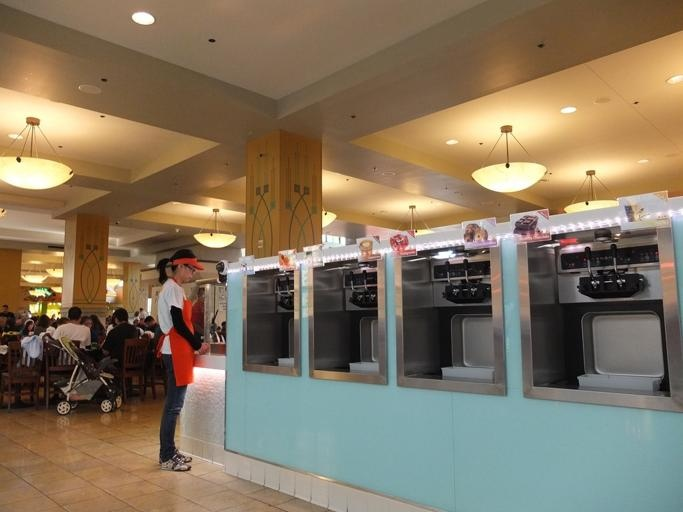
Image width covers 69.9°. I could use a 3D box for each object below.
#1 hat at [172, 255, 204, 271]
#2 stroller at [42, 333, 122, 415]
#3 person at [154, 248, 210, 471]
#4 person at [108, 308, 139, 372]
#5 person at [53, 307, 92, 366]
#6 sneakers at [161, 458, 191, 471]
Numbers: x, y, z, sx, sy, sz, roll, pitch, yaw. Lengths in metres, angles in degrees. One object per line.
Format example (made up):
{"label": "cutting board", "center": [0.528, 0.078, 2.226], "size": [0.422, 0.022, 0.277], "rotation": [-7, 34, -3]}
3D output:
{"label": "hat", "center": [-1.588, 0.066, 5.082], "size": [0.278, 0.081, 0.167], "rotation": [10, -6, -24]}
{"label": "stroller", "center": [-4.168, 1.991, 8.199], "size": [1.623, 1.495, 1.023], "rotation": [0, -7, -11]}
{"label": "person", "center": [-1.638, 1.053, 4.996], "size": [0.462, 2.234, 0.370], "rotation": [1, -6, -17]}
{"label": "person", "center": [-3.845, 1.402, 8.521], "size": [0.596, 0.981, 0.574], "rotation": [-3, 7, -43]}
{"label": "person", "center": [-4.624, 1.235, 8.432], "size": [0.676, 0.701, 0.381], "rotation": [4, 13, -14]}
{"label": "sneakers", "center": [-1.665, 2.126, 4.973], "size": [0.334, 0.125, 0.109], "rotation": [0, -11, -1]}
